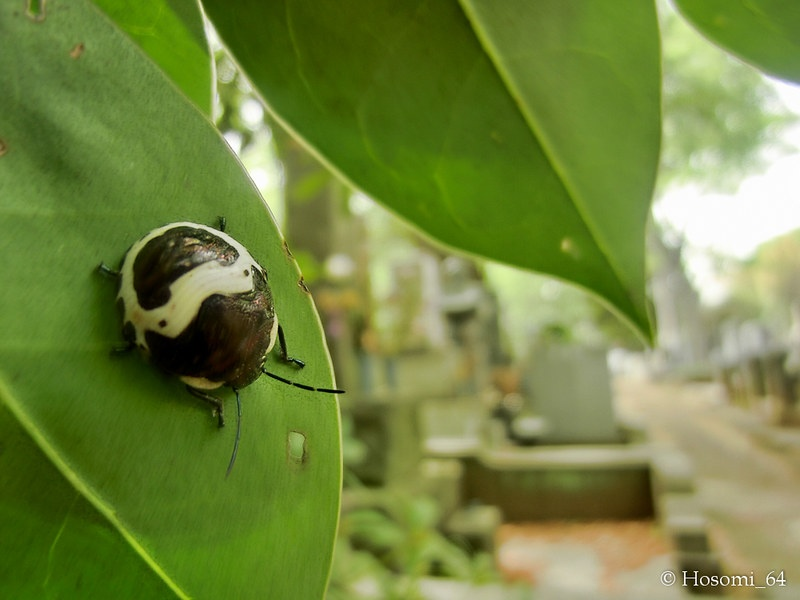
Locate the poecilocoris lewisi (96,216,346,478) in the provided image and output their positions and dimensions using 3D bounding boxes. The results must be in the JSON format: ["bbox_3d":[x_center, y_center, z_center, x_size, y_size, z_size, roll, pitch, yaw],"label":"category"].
[{"bbox_3d":[-0.128,0.013,0.553,0.131,0.180,0.047,-35,-6,-33],"label":"poecilocoris lewisi"}]
